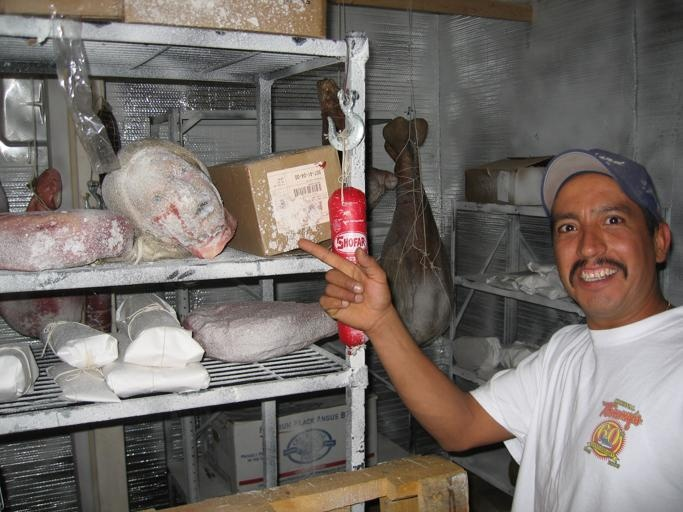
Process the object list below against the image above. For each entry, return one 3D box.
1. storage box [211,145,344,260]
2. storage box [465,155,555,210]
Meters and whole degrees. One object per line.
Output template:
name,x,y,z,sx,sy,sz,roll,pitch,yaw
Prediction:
storage box,-0.280,-0.189,1.877,0.516,0.276,0.527,-15,12,-28
storage box,0.976,-0.427,3.177,0.406,0.165,0.404,-6,9,-40
